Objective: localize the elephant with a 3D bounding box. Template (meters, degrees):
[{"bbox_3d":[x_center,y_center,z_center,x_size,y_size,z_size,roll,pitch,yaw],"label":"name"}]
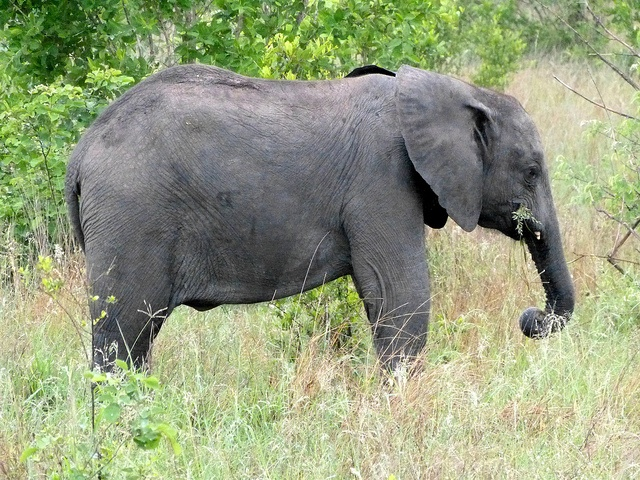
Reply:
[{"bbox_3d":[0.085,-0.093,4.926,3.349,2.160,1.417,-3,14,-6],"label":"elephant"}]
